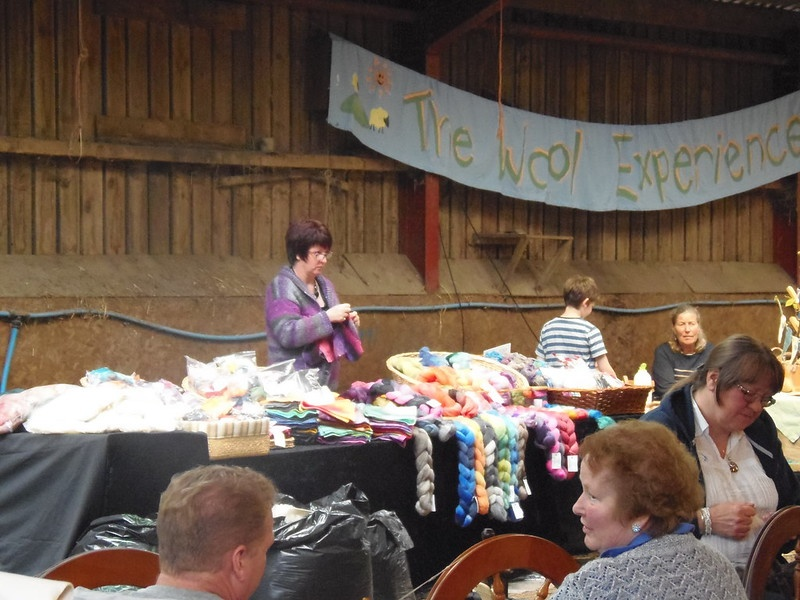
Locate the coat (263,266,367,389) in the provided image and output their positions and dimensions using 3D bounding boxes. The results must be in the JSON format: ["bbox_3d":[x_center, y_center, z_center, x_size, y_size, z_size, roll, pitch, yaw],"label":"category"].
[{"bbox_3d":[-0.618,0.246,11.140,0.495,1.016,0.690,-8,-4,41],"label":"coat"}]

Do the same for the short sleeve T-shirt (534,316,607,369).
[{"bbox_3d":[1.287,0.303,12.142,0.572,0.564,0.321,1,5,30],"label":"short sleeve T-shirt"}]

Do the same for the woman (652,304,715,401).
[{"bbox_3d":[2.167,0.446,12.175,0.437,0.860,0.690,0,-6,11],"label":"woman"}]

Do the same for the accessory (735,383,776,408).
[{"bbox_3d":[2.155,0.557,9.748,0.156,0.057,0.163,17,15,-36],"label":"accessory"}]

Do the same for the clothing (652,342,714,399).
[{"bbox_3d":[2.172,0.549,12.320,0.363,0.533,0.490,2,-12,3],"label":"clothing"}]

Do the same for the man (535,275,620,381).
[{"bbox_3d":[1.370,0.207,12.733,0.562,1.362,0.371,9,20,30],"label":"man"}]
